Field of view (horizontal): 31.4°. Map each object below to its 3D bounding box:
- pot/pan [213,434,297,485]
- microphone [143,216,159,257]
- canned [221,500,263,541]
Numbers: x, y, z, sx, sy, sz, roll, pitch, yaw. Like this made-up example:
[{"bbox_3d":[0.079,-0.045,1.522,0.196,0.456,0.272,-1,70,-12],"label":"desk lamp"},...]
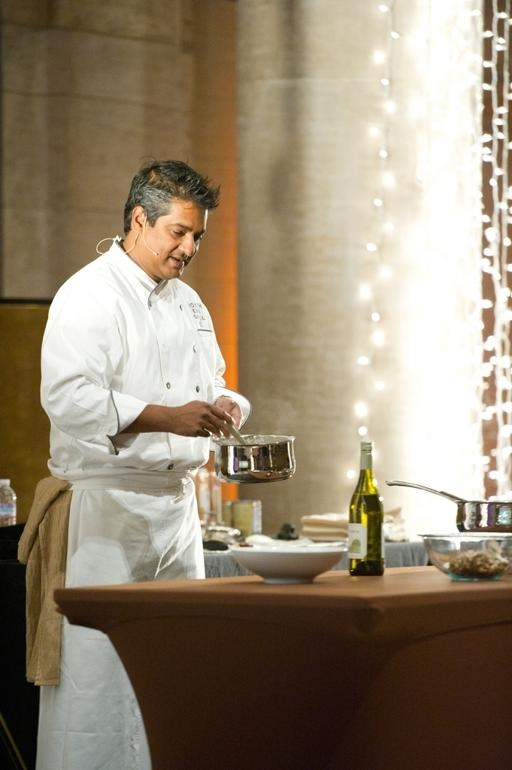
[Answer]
[{"bbox_3d":[-0.010,0.158,1.976,0.175,0.100,0.117,1,1,8],"label":"pot/pan"},{"bbox_3d":[-0.268,-0.373,2.251,0.024,0.084,0.050,-1,-7,-40],"label":"microphone"},{"bbox_3d":[-0.050,0.588,3.953,0.172,0.248,0.153,-1,1,1],"label":"canned"}]
